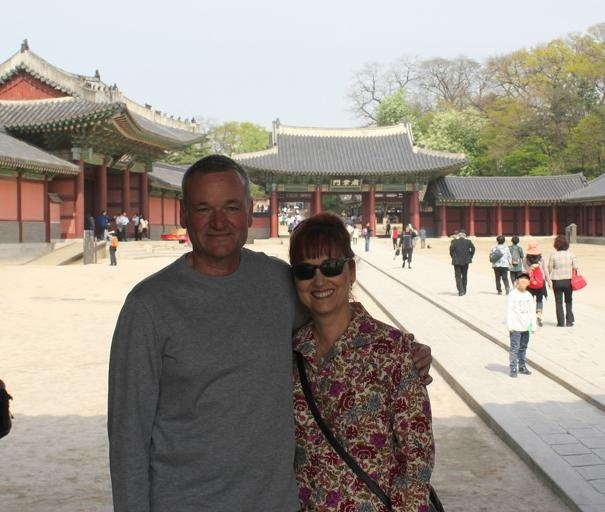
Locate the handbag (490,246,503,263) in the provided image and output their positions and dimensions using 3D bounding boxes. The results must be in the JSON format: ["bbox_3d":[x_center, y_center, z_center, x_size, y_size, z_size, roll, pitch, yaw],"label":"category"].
[{"bbox_3d":[3.892,-0.016,13.355,0.089,0.303,0.215,37,3,-27],"label":"handbag"}]

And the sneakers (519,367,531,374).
[{"bbox_3d":[2.305,1.188,6.943,0.110,0.099,0.056,-4,6,-9],"label":"sneakers"}]

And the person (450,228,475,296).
[{"bbox_3d":[3.412,0.126,14.334,0.466,1.317,1.494,0,5,13],"label":"person"}]

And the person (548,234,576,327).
[{"bbox_3d":[3.768,0.340,9.571,0.442,1.276,0.444,-7,4,-13],"label":"person"}]

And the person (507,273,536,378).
[{"bbox_3d":[2.233,0.702,6.873,0.236,1.034,0.388,3,6,41],"label":"person"}]
